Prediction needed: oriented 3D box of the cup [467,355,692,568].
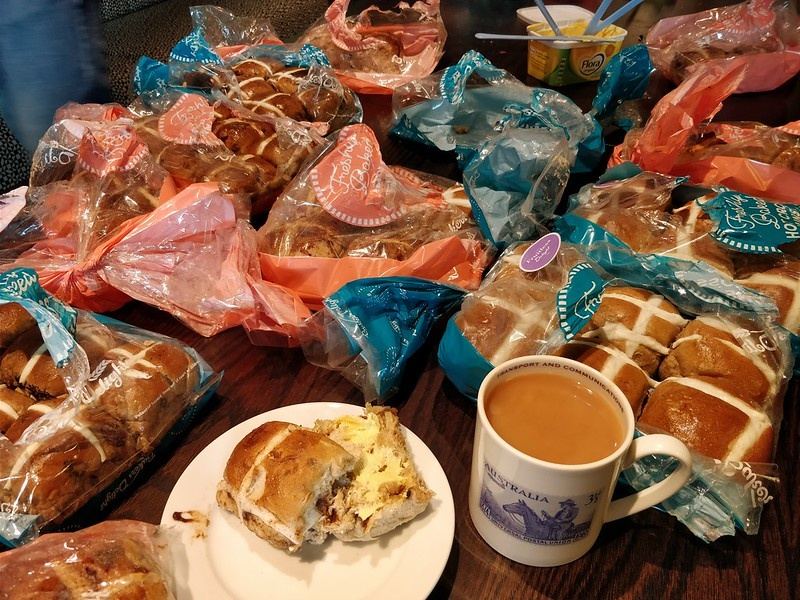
[{"bbox_3d":[0.199,0.189,0.641,0.227,0.183,0.152,12,40,16],"label":"cup"}]
